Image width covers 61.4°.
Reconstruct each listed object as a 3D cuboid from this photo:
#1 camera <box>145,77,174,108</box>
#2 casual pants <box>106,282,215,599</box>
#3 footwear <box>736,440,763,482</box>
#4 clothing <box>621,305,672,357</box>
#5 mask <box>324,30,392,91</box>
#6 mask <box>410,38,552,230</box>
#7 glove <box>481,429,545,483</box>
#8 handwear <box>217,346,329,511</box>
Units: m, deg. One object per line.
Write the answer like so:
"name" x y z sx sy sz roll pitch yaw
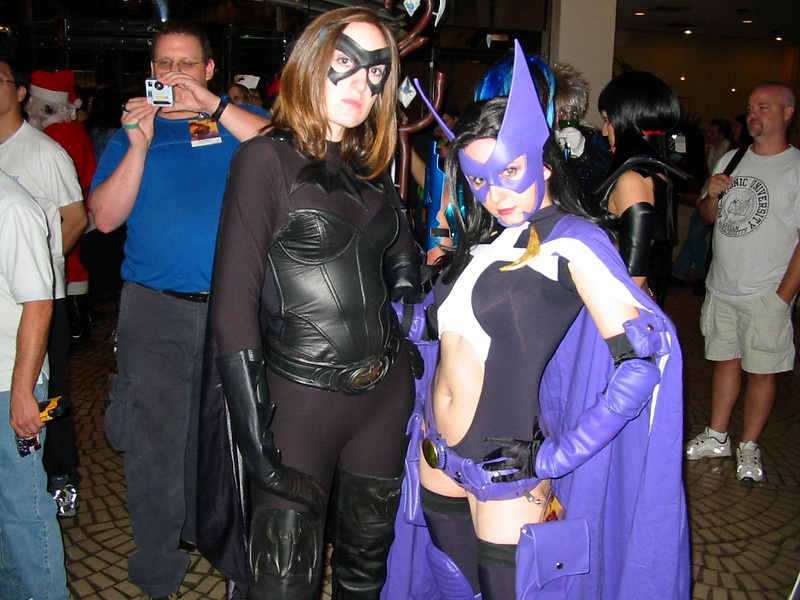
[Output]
"camera" -0.993 -0.861 2.789 0.110 0.110 0.058 -1 12 -20
"casual pants" -1.052 0.641 2.908 0.399 1.415 0.247 2 11 -2
"footwear" 2.095 0.970 4.038 0.110 0.128 0.300 2 24 16
"clothing" 0.771 0.112 2.077 0.131 0.131 0.072 -13 -21 -9
"mask" -0.146 -0.780 2.175 0.188 0.132 0.080 6 20 -32
"mask" 0.337 -0.526 2.160 0.285 0.555 0.132 4 11 6
"glove" 0.364 0.523 2.192 0.177 0.124 0.091 4 11 8
"handwear" -0.395 0.415 2.101 0.311 0.535 0.157 -3 12 -27
